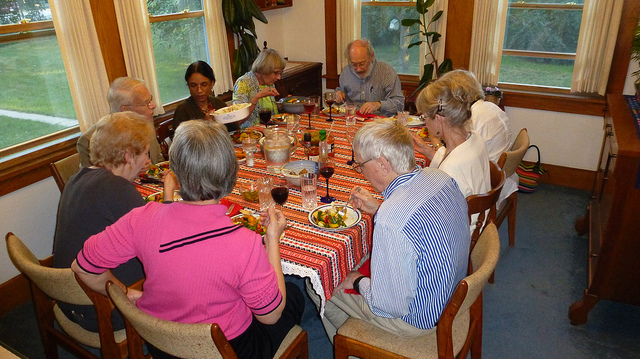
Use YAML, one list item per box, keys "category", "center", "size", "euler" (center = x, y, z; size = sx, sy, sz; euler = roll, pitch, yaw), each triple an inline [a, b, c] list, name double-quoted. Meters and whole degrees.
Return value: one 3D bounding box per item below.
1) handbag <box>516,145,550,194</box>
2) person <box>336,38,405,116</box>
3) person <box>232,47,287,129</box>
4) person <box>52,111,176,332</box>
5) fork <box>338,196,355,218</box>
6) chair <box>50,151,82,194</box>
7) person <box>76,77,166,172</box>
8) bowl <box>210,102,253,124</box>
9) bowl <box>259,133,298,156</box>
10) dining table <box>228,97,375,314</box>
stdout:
- category: "handbag"
  center: [2.774, -0.161, 5.509]
  size: [0.431, 0.686, 0.207]
  euler: [24, 43, 33]
- category: "person"
  center: [0.690, -1.272, 5.113]
  size: [0.798, 0.841, 0.984]
  euler: [-4, 22, -7]
- category: "person"
  center: [-0.757, -0.933, 5.202]
  size: [0.587, 1.332, 0.683]
  euler: [19, 27, 37]
- category: "person"
  center: [-1.661, 0.246, 3.513]
  size: [0.892, 1.579, 0.971]
  euler: [17, 19, 23]
- category: "fork"
  center: [0.222, 0.229, 3.387]
  size: [0.058, 0.038, 0.254]
  euler: [22, 33, 18]
- category: "chair"
  center: [-2.297, -0.060, 3.730]
  size: [0.204, 0.362, 0.205]
  euler: [20, 46, 16]
- category: "person"
  center: [-1.885, -0.506, 3.839]
  size: [0.421, 0.760, 0.803]
  euler: [4, 29, 4]
- category: "bowl"
  center: [-0.922, -0.641, 4.290]
  size: [0.289, 0.122, 0.317]
  euler: [-9, 10, 2]
- category: "bowl"
  center: [-0.414, -0.401, 4.144]
  size: [0.342, 0.259, 0.212]
  euler: [0, 42, -3]
- category: "dining table"
  center: [-0.262, 0.231, 3.913]
  size: [1.195, 1.703, 0.331]
  euler: [1, 49, -2]
